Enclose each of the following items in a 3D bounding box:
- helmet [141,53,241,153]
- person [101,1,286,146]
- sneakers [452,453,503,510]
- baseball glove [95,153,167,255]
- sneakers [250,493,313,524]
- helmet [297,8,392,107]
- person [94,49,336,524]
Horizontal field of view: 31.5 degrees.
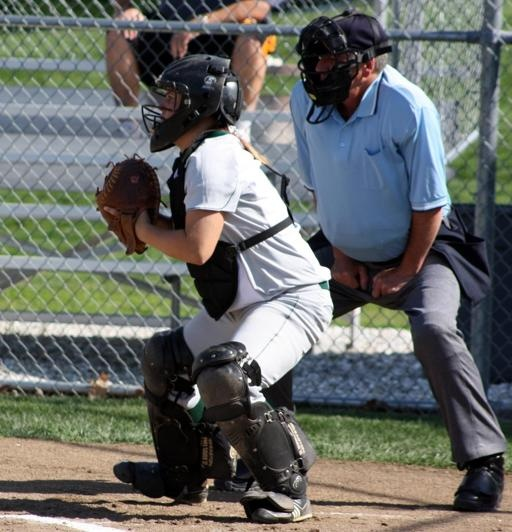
[{"bbox_3d":[-0.230,-0.637,3.546,0.450,0.324,0.324,2,9,6],"label":"helmet"},{"bbox_3d":[-0.480,-1.553,6.212,1.193,0.456,1.381,8,-26,6],"label":"person"},{"bbox_3d":[0.863,0.834,3.505,0.176,0.202,0.155,5,9,9],"label":"sneakers"},{"bbox_3d":[-0.505,-0.305,3.531,0.147,0.208,0.301,25,21,11],"label":"baseball glove"},{"bbox_3d":[0.089,0.869,3.268,0.201,0.057,0.113,8,-12,-34],"label":"sneakers"},{"bbox_3d":[0.402,-0.900,3.819,0.475,0.317,0.355,-20,26,-22],"label":"helmet"},{"bbox_3d":[-0.111,0.076,3.446,0.909,1.755,0.504,10,12,33],"label":"person"}]
